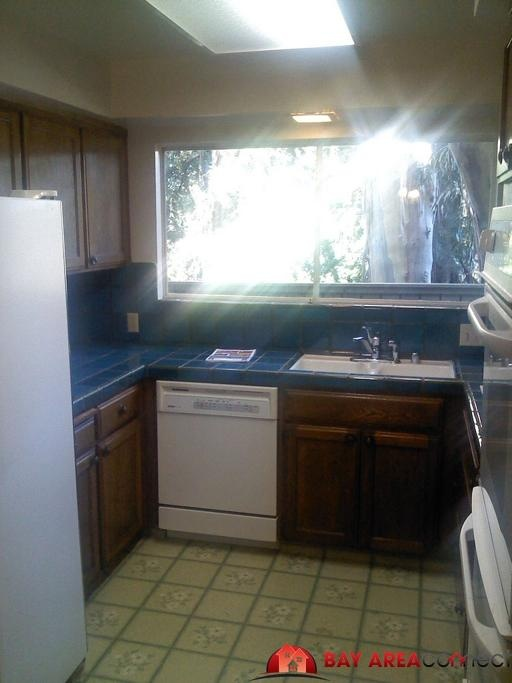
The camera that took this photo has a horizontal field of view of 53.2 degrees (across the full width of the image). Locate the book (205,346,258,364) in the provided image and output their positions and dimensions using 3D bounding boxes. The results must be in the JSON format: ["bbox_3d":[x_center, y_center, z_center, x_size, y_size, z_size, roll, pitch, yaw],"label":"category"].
[{"bbox_3d":[-0.135,0.076,2.839,0.252,0.038,0.326,0,6,5],"label":"book"}]

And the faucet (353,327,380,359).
[{"bbox_3d":[0.624,0.014,2.846,0.171,0.230,0.132,0,2,-40],"label":"faucet"}]

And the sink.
[{"bbox_3d":[0.630,0.132,2.739,0.812,0.091,0.311,1,6,16],"label":"sink"}]
